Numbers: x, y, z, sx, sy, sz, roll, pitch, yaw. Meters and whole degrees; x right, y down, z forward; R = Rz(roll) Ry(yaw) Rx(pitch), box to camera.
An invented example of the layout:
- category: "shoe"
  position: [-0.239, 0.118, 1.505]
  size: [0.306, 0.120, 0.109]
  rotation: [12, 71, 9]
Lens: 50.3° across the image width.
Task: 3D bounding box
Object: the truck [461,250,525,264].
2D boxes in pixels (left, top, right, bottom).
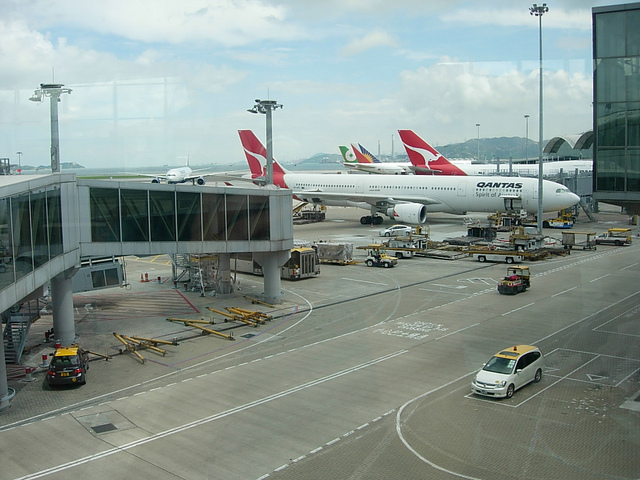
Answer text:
- category: "truck"
  position: [15.583, 1.505, 62.601]
  size: [5.840, 1.001, 1.355]
  rotation: [3, 5, 25]

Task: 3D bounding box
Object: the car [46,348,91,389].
- category: "car"
  position: [-12.792, 6.439, 34.759]
  size: [2.648, 1.712, 2.075]
  rotation: [-3, 9, -15]

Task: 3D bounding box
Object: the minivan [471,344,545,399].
- category: "minivan"
  position: [9.162, 6.248, 33.051]
  size: [2.035, 1.334, 4.148]
  rotation: [12, 19, 41]

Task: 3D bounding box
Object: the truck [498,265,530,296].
- category: "truck"
  position: [14.153, 2.869, 49.793]
  size: [1.429, 1.451, 2.808]
  rotation: [12, 18, 39]

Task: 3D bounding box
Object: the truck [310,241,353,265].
- category: "truck"
  position: [1.159, 1.188, 63.297]
  size: [3.561, 1.511, 2.101]
  rotation: [0, 6, 20]

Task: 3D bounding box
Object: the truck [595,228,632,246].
- category: "truck"
  position: [30.004, -0.364, 70.207]
  size: [3.599, 1.435, 2.199]
  rotation: [3, 4, 24]
